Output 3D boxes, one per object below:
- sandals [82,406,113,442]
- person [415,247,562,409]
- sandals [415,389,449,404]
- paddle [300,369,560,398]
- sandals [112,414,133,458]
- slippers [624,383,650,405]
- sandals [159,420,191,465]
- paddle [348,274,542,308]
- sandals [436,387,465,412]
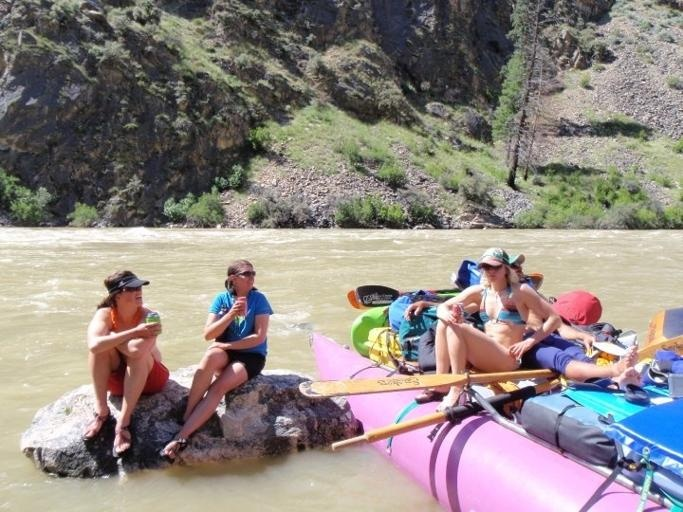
[{"bbox_3d":[-3.025,2.073,8.768,0.168,0.225,0.531,23,55,12],"label":"sandals"},{"bbox_3d":[1.932,0.991,9.313,1.121,0.833,1.559,30,49,-9],"label":"person"},{"bbox_3d":[1.137,1.724,8.788,0.384,0.178,0.151,2,8,2],"label":"sandals"},{"bbox_3d":[1.210,1.553,8.639,2.938,0.267,0.361,-1,23,-4],"label":"paddle"},{"bbox_3d":[-2.716,2.244,8.703,0.241,0.381,0.189,-6,14,-21],"label":"sandals"},{"bbox_3d":[3.367,1.573,8.028,0.255,0.173,0.172,8,50,17],"label":"slippers"},{"bbox_3d":[-2.043,2.282,8.803,0.224,0.187,0.565,-41,6,20],"label":"sandals"},{"bbox_3d":[1.504,0.519,10.286,2.821,0.469,0.424,-4,6,28],"label":"paddle"},{"bbox_3d":[1.340,1.690,8.564,0.153,0.231,0.514,-8,14,44],"label":"sandals"}]
